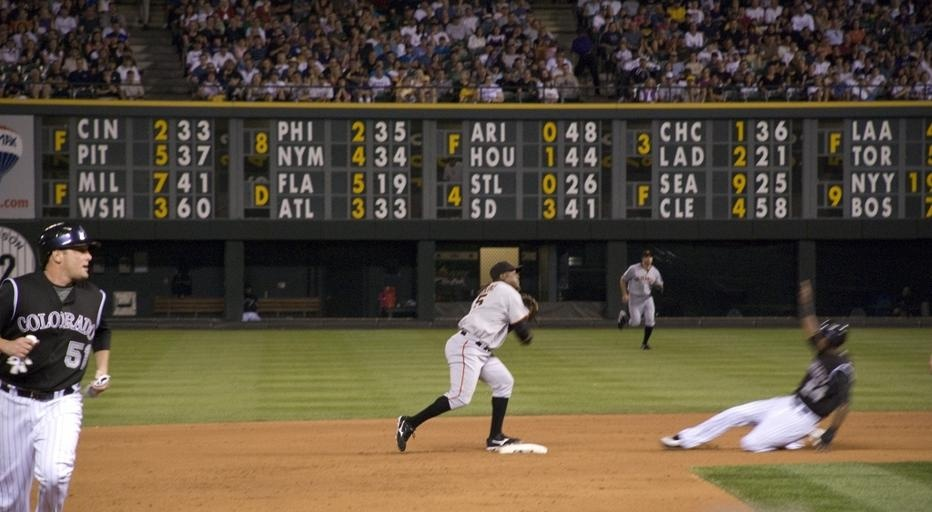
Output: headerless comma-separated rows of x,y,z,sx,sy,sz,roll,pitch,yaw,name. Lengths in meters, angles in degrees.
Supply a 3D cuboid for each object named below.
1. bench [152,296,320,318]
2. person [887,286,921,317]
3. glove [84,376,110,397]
-9.652,2.122,73.511,6.855,0.800,0.343,-1,-3,0,bench
18.730,1.992,73.341,1.033,1.425,0.420,6,0,5,person
-11.454,4.110,54.250,0.742,0.259,0.525,-20,-7,4,glove
